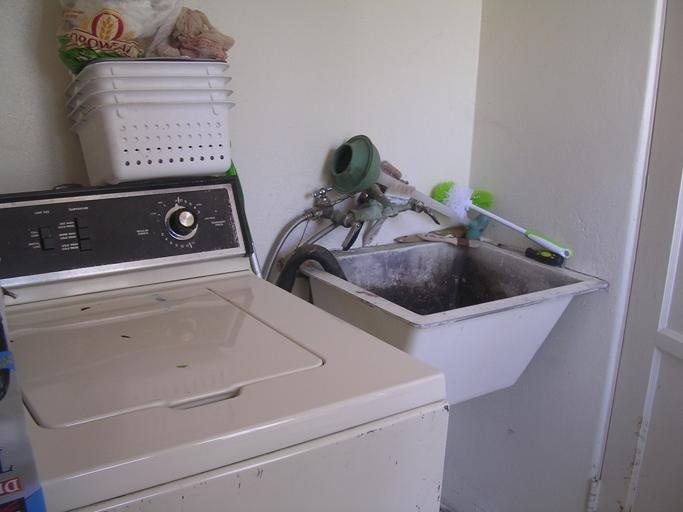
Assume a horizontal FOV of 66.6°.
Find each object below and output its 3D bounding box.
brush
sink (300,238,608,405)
[{"bbox_3d":[0.596,-0.182,2.130,0.698,0.194,0.107,34,11,25],"label":"brush"},{"bbox_3d":[0.390,0.201,1.642,0.742,0.443,0.886,-4,17,-28],"label":"sink"}]
